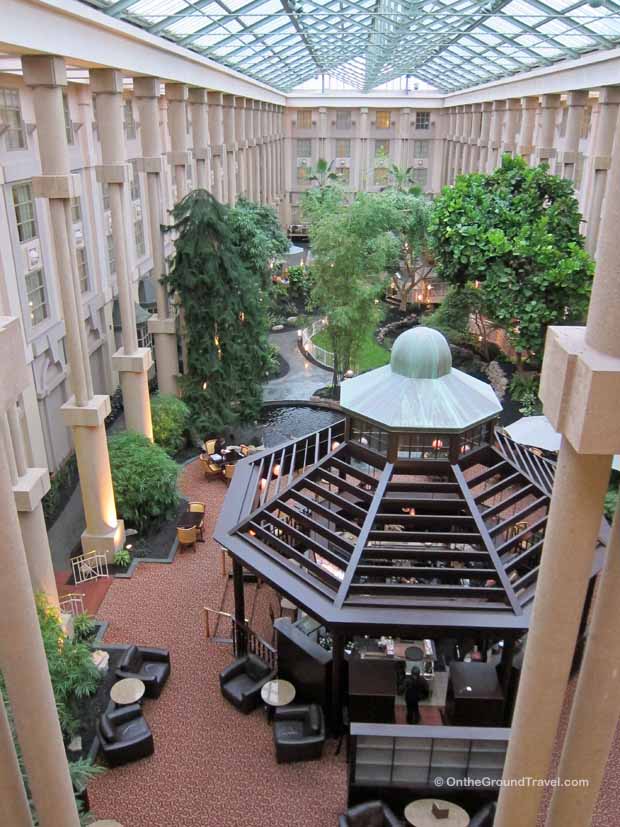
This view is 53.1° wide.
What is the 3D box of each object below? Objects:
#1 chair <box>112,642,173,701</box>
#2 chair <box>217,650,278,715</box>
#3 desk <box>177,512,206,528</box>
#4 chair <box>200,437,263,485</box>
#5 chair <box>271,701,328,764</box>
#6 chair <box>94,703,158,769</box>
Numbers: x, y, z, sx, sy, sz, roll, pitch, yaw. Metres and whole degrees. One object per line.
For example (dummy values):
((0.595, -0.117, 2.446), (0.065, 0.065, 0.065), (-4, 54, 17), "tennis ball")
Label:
((-3.054, 4.750, 11.634), (0.908, 0.852, 0.888), (6, 47, 5), "chair")
((-1.147, 4.898, 11.429), (0.859, 0.792, 0.873), (27, 37, 35), "chair")
((-3.128, 2.883, 16.256), (0.537, 0.338, 0.863), (0, 20, 4), "desk")
((-2.626, 1.305, 20.221), (1.607, 0.755, 1.562), (-18, 41, -24), "chair")
((-0.175, 5.241, 10.160), (0.803, 0.772, 0.627), (-3, 20, -3), "chair")
((-2.974, 5.191, 10.084), (0.826, 0.580, 0.822), (-12, 44, -18), "chair")
